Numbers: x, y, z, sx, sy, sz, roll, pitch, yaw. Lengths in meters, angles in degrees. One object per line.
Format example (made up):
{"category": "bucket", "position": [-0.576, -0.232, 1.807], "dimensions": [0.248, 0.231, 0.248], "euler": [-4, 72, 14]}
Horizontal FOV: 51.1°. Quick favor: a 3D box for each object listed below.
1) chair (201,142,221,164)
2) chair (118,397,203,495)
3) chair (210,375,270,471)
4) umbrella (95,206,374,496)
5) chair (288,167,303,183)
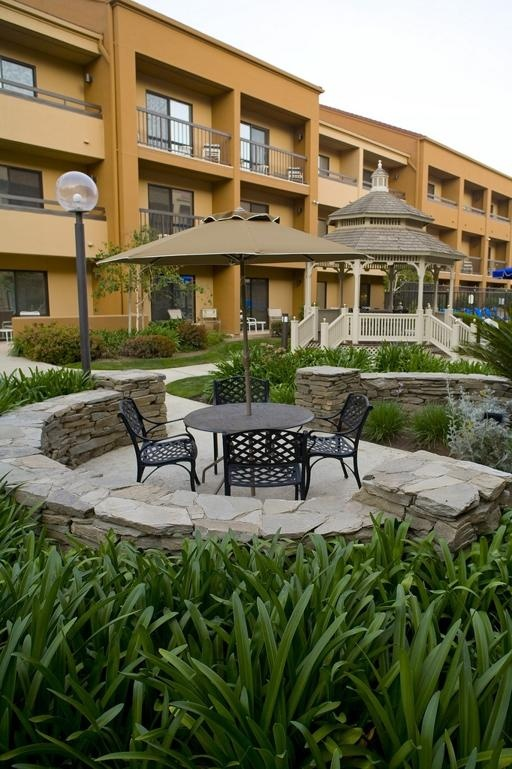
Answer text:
{"category": "chair", "position": [-1.808, -9.188, 21.166], "dimensions": [0.616, 0.712, 0.526], "euler": [-2, 7, -13]}
{"category": "chair", "position": [-0.829, 0.584, 5.132], "dimensions": [0.669, 0.974, 0.779], "euler": [-9, -5, 29]}
{"category": "chair", "position": [-0.247, 0.334, 6.421], "dimensions": [0.746, 1.473, 0.909], "euler": [0, 3, 4]}
{"category": "umbrella", "position": [-0.142, -0.693, 4.955], "dimensions": [1.789, 2.030, 2.083], "euler": [0, 7, 3]}
{"category": "chair", "position": [1.624, -9.759, 24.757], "dimensions": [0.400, 0.776, 0.984], "euler": [5, 9, 39]}
